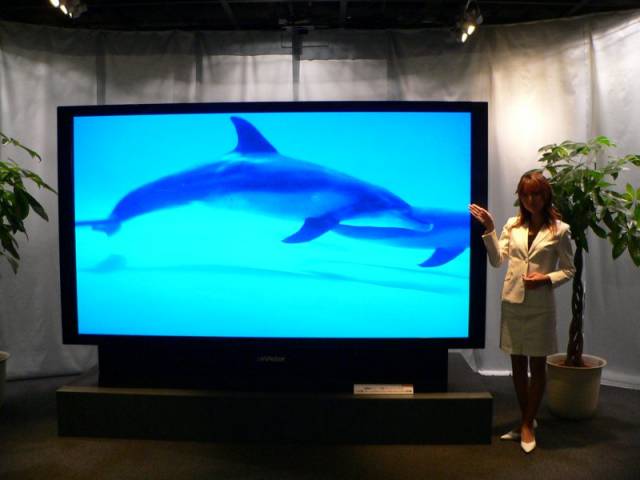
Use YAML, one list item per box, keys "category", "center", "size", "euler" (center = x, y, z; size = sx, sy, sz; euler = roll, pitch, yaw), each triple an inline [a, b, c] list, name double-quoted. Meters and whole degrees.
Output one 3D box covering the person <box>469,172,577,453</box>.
- category: "person"
  center: [1.456, 0.491, 4.077]
  size: [0.651, 1.980, 0.338]
  euler: [1, 3, 19]
